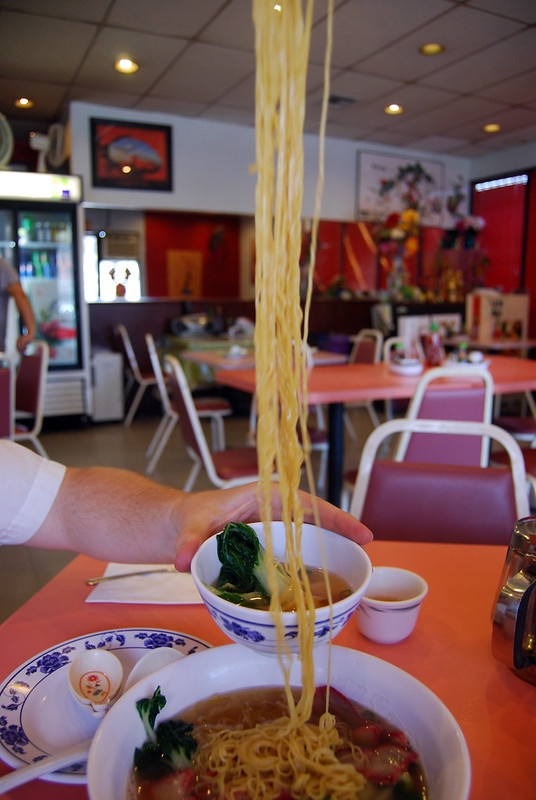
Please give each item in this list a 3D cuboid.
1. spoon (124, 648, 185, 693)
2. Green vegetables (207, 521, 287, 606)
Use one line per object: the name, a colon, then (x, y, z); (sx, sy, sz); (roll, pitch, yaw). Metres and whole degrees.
spoon: (-0.100, 0.231, 0.533); (0.043, 0.014, 0.060); (8, 7, 30)
Green vegetables: (-0.020, 0.134, 0.491); (0.053, 0.029, 0.061); (8, 11, -11)
